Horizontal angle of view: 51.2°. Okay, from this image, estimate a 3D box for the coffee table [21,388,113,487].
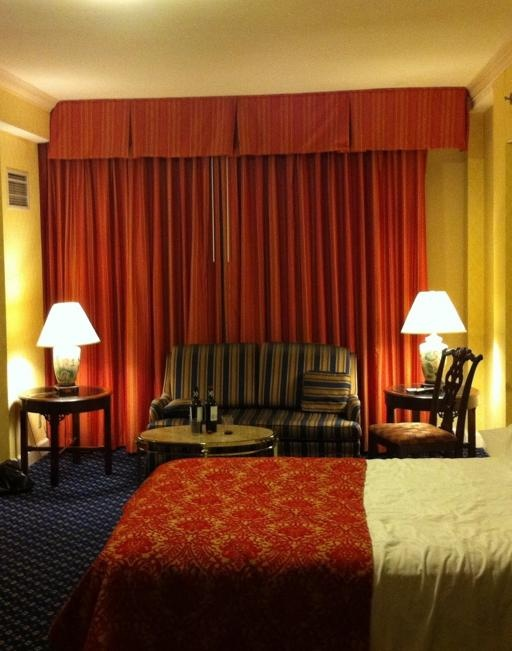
[{"bbox_3d":[-1.621,0.805,4.606,0.736,0.787,0.753,5,7,38],"label":"coffee table"}]

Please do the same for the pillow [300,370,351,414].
[{"bbox_3d":[0.599,0.577,4.598,0.423,0.230,0.253,-3,1,8],"label":"pillow"}]

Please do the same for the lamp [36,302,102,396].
[{"bbox_3d":[-1.570,0.218,4.660,0.436,0.700,0.442,-3,-6,32],"label":"lamp"}]

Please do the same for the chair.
[{"bbox_3d":[1.387,0.590,4.443,0.761,0.911,0.803,0,-1,4],"label":"chair"}]

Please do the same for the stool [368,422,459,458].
[{"bbox_3d":[1.123,0.798,3.810,0.381,0.362,0.383,2,-4,-7],"label":"stool"}]

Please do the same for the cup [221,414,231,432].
[{"bbox_3d":[-0.228,0.744,3.930,0.060,0.099,0.062,-1,9,0],"label":"cup"}]

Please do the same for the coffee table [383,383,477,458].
[{"bbox_3d":[1.439,0.713,4.408,0.547,0.683,0.650,0,-1,3],"label":"coffee table"}]
